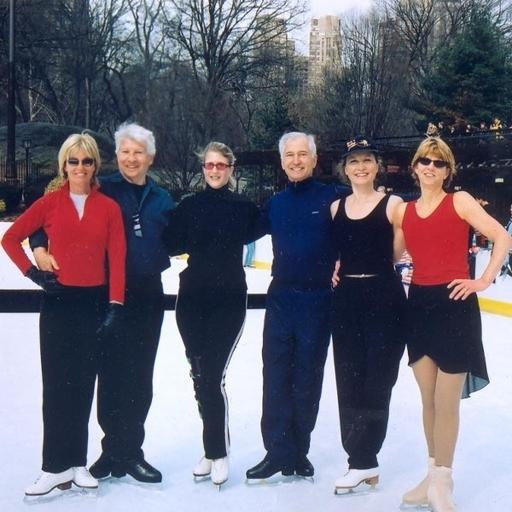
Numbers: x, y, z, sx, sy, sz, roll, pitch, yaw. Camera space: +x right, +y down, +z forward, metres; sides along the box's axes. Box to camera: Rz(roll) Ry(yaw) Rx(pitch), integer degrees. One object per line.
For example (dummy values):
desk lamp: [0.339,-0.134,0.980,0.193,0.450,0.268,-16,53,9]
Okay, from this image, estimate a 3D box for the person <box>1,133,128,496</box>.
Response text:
person: [-1.080,0.319,4.065,0.672,2.018,0.436,-2,8,-22]

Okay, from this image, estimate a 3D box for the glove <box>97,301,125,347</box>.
glove: [-0.850,0.386,4.107,0.112,0.334,0.106,15,18,-23]

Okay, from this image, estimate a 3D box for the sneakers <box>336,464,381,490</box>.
sneakers: [0.599,1.294,4.206,0.285,0.146,0.108,0,-3,-21]

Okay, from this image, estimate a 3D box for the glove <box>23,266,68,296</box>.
glove: [-1.190,0.135,3.983,0.061,0.210,0.121,-34,20,43]

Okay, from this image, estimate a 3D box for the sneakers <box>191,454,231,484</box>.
sneakers: [-0.265,1.258,4.194,0.215,0.142,0.203,0,8,-6]
